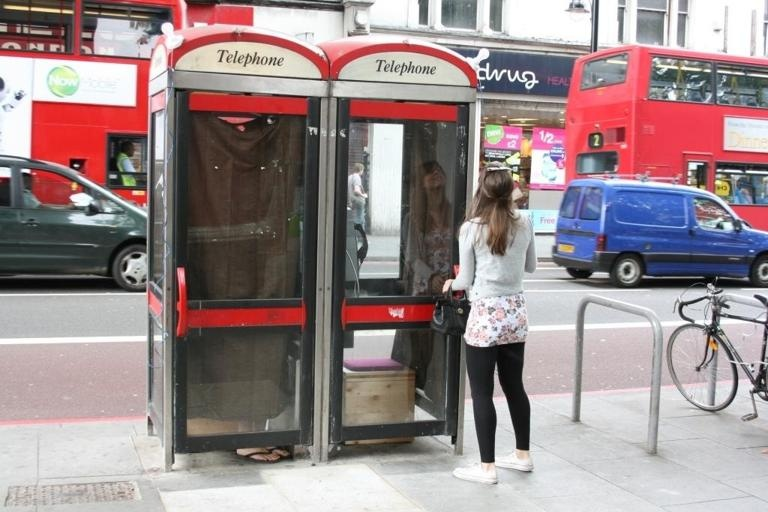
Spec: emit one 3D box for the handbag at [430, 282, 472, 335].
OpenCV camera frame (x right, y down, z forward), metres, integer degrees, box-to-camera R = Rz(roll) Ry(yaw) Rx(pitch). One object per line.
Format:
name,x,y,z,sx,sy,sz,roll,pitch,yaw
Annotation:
handbag,0.620,0.493,7.393,0.530,0.504,0.279,2,0,-40

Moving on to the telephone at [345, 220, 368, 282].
telephone,-0.256,-0.002,7.662,0.237,0.693,0.177,11,25,21

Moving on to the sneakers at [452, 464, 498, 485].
sneakers,0.832,1.958,7.335,0.404,0.150,0.152,3,-19,19

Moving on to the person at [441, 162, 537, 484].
person,1.018,0.601,7.275,0.774,2.812,0.494,0,9,-17

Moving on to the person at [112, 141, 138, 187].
person,-5.521,-1.972,17.170,0.380,1.195,0.557,-16,30,-36

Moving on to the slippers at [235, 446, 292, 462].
slippers,-1.129,1.845,7.624,0.527,0.111,0.196,1,9,-7

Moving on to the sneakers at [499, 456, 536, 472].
sneakers,1.223,1.906,7.561,0.333,0.124,0.133,6,-6,21

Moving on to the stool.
stool,-0.064,1.413,8.078,0.821,0.732,0.804,2,-3,-17
